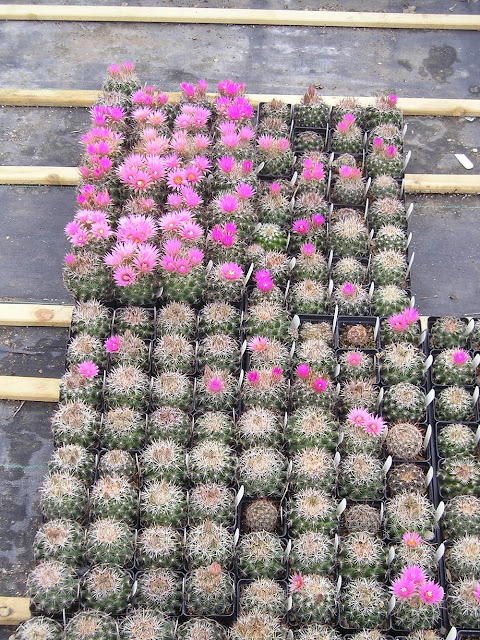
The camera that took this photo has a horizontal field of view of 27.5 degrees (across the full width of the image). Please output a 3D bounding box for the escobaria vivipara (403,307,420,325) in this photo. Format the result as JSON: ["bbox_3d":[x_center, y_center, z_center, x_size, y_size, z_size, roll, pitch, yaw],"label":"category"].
[{"bbox_3d":[0.883,-0.025,5.054,0.095,0.085,0.083,8,54,2],"label":"escobaria vivipara"}]

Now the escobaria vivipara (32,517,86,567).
[{"bbox_3d":[-0.795,1.001,4.439,0.232,0.211,0.202,2,47,-3],"label":"escobaria vivipara"}]

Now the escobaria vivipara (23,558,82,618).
[{"bbox_3d":[-0.801,1.179,4.332,0.255,0.230,0.224,-2,46,-4],"label":"escobaria vivipara"}]

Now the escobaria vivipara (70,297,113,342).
[{"bbox_3d":[-0.754,-0.015,5.083,0.224,0.202,0.193,-7,53,-6],"label":"escobaria vivipara"}]

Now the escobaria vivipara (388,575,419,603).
[{"bbox_3d":[0.715,1.163,4.270,0.114,0.047,0.104,-31,73,21],"label":"escobaria vivipara"}]

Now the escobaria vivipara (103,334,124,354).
[{"bbox_3d":[-0.623,0.113,4.913,0.092,0.039,0.084,-29,73,17],"label":"escobaria vivipara"}]

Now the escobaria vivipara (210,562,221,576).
[{"bbox_3d":[-0.102,1.085,4.276,0.068,0.084,0.054,8,70,1],"label":"escobaria vivipara"}]

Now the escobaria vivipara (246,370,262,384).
[{"bbox_3d":[0.079,0.275,4.742,0.073,0.068,0.063,2,69,9],"label":"escobaria vivipara"}]

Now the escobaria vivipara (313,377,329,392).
[{"bbox_3d":[0.400,0.308,4.746,0.075,0.077,0.065,11,88,8],"label":"escobaria vivipara"}]

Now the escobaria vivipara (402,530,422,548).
[{"bbox_3d":[0.777,0.987,4.436,0.073,0.028,0.069,20,37,38],"label":"escobaria vivipara"}]

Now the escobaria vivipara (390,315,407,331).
[{"bbox_3d":[0.808,0.011,5.040,0.084,0.056,0.081,38,91,16],"label":"escobaria vivipara"}]

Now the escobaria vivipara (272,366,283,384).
[{"bbox_3d":[0.179,0.266,4.786,0.078,0.103,0.067,12,81,1],"label":"escobaria vivipara"}]

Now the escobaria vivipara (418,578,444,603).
[{"bbox_3d":[0.831,1.175,4.263,0.109,0.043,0.098,11,49,14],"label":"escobaria vivipara"}]

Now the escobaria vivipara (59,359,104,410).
[{"bbox_3d":[-0.778,0.314,4.836,0.237,0.138,0.217,1,79,-5],"label":"escobaria vivipara"}]

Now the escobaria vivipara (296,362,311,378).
[{"bbox_3d":[0.320,0.240,4.814,0.072,0.070,0.066,27,94,10],"label":"escobaria vivipara"}]

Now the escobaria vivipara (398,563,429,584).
[{"bbox_3d":[0.770,1.103,4.316,0.094,0.087,0.032,0,100,17],"label":"escobaria vivipara"}]

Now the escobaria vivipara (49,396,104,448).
[{"bbox_3d":[-0.786,0.488,4.793,0.249,0.222,0.219,-9,47,-10],"label":"escobaria vivipara"}]

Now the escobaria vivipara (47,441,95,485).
[{"bbox_3d":[-0.774,0.673,4.636,0.213,0.197,0.177,4,83,-1],"label":"escobaria vivipara"}]
